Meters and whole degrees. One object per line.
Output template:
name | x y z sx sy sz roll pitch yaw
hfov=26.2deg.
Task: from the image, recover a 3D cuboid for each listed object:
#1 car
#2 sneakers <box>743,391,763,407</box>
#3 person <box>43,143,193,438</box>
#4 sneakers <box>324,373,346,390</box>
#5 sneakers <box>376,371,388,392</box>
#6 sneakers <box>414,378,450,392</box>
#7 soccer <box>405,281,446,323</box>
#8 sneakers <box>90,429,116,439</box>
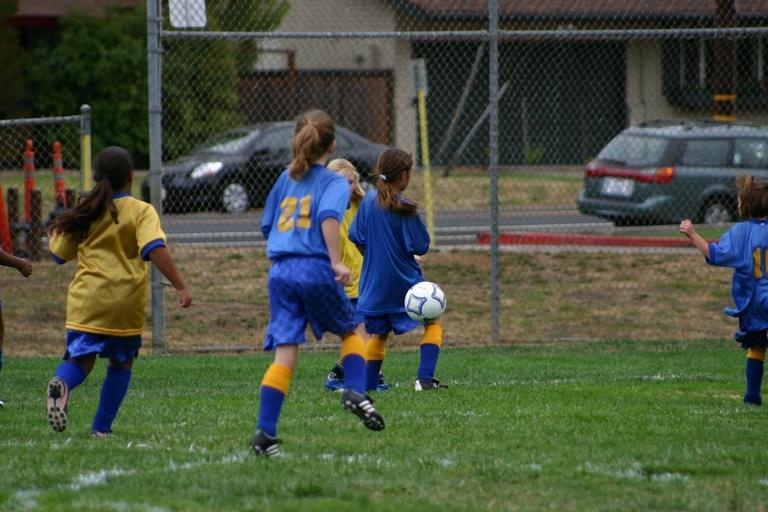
car | -1.570 -1.429 27.218 3.797 1.270 1.727 -1 2 -27
sneakers | 4.829 1.863 21.400 0.298 0.217 0.102 -5 10 -33
person | -3.383 0.437 20.464 1.448 3.551 0.671 1 6 -13
sneakers | -0.624 1.676 21.821 0.340 0.159 0.127 5 5 18
sneakers | -0.022 1.691 21.867 0.114 0.245 0.244 6 7 28
sneakers | 0.646 1.682 21.698 0.447 0.199 0.164 0 5 -10
soccer | 0.605 0.566 21.663 0.499 0.517 0.508 11 2 11
sneakers | -3.450 2.201 20.406 0.261 0.115 0.096 3 -4 -1
